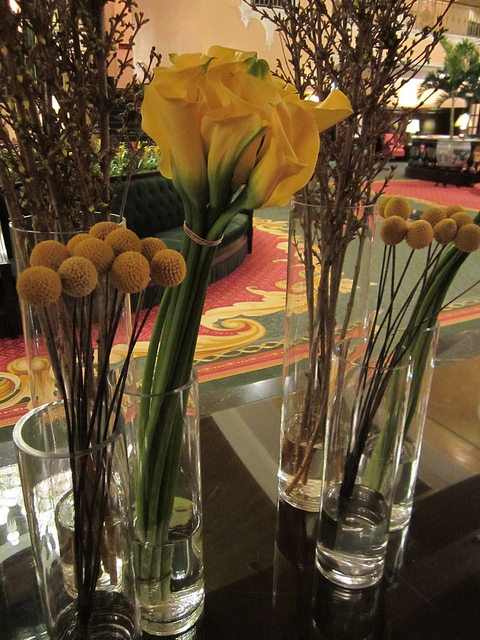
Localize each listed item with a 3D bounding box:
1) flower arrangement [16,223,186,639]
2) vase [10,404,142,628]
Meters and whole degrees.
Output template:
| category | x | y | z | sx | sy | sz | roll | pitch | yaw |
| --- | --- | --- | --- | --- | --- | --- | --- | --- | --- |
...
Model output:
| category | x | y | z | sx | sy | sz | roll | pitch | yaw |
| --- | --- | --- | --- | --- | --- | --- | --- | --- | --- |
| flower arrangement | -0.117 | 0.086 | 0.449 | 0.117 | 0.358 | 0.292 | 2 | 16 | -8 |
| vase | -0.140 | 0.191 | 0.415 | 0.079 | 0.240 | 0.086 | 8 | 16 | 16 |
